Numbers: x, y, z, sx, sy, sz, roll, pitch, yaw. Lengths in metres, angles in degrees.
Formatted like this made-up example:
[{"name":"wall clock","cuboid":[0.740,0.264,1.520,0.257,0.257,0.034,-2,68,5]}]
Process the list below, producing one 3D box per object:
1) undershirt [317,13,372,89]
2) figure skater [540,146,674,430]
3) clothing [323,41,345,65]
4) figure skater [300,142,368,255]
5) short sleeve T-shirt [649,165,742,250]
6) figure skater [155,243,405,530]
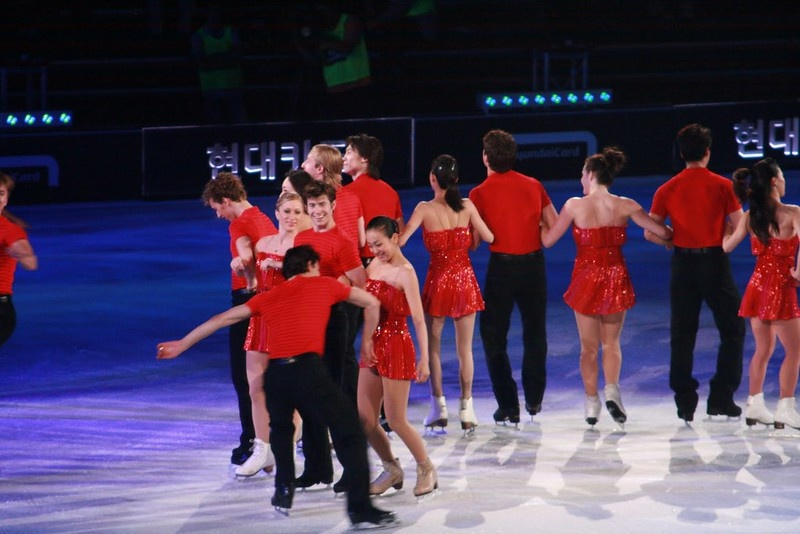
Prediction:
[{"name":"undershirt","cuboid":[-0.912,-3.483,14.270,0.747,1.175,0.324,-3,7,6]},{"name":"figure skater","cuboid":[1.966,0.179,8.506,1.029,2.638,0.760,-2,7,19]},{"name":"clothing","cuboid":[-1.062,-3.447,14.295,0.263,0.117,0.334,-2,-7,33]},{"name":"figure skater","cuboid":[-0.632,-0.431,8.016,0.596,1.309,0.458,1,16,-10]},{"name":"short sleeve T-shirt","cuboid":[2.789,-0.582,8.630,1.080,0.669,0.382,-4,5,-14]},{"name":"figure skater","cuboid":[-0.763,0.899,6.629,1.306,2.106,0.543,-4,7,-2]}]
